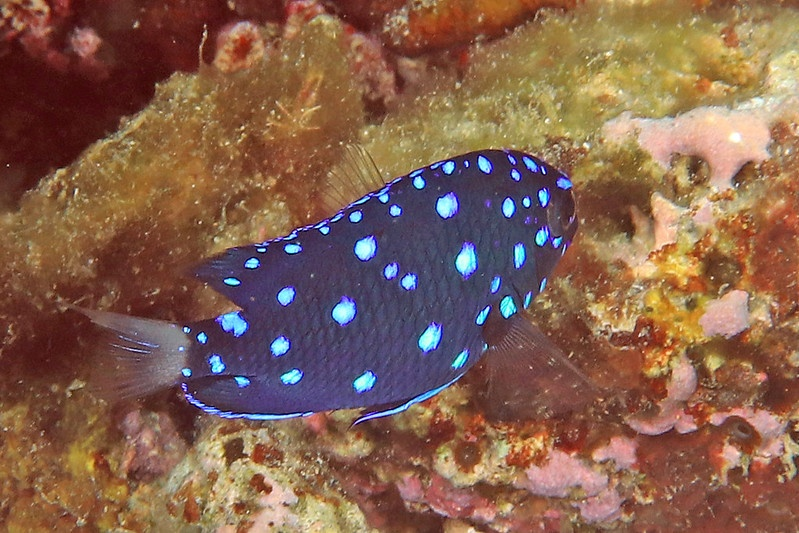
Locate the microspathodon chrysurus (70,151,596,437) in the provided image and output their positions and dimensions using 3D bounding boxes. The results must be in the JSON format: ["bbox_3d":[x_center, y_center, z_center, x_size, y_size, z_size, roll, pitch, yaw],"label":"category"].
[{"bbox_3d":[-0.251,0.233,7.839,3.368,1.497,1.960,-6,85,2],"label":"microspathodon chrysurus"}]
